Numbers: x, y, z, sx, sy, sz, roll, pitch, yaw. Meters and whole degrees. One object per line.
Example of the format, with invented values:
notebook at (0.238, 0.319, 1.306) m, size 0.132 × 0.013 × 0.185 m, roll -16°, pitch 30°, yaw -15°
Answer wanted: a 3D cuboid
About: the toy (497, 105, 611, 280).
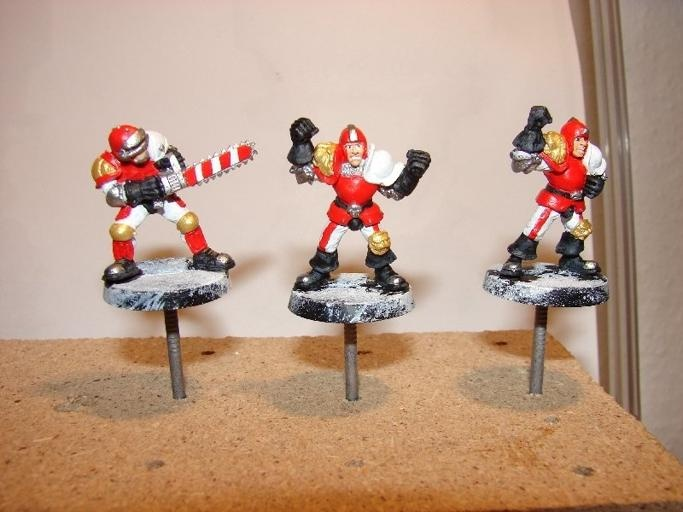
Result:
toy at (0.894, -0.270, 3.295) m, size 0.488 × 0.740 × 0.188 m, roll -8°, pitch 10°, yaw -19°
